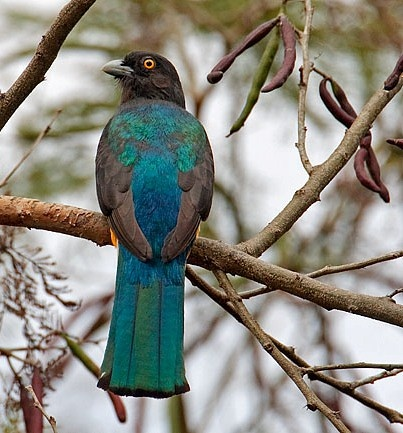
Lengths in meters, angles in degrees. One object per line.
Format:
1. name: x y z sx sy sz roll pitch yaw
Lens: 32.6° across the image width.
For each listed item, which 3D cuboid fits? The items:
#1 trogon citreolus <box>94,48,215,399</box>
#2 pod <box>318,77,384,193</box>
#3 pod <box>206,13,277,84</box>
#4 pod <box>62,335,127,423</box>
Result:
1. trogon citreolus: -0.318 -0.119 4.545 0.714 2.454 1.549 2 -69 -5
2. pod: 0.785 -0.727 4.149 0.189 0.624 0.088 20 -61 -27
3. pod: 0.193 -0.869 3.816 0.562 0.097 0.105 -43 -30 -7
4. pod: -0.555 0.792 3.482 0.309 0.460 0.343 -15 -42 17
